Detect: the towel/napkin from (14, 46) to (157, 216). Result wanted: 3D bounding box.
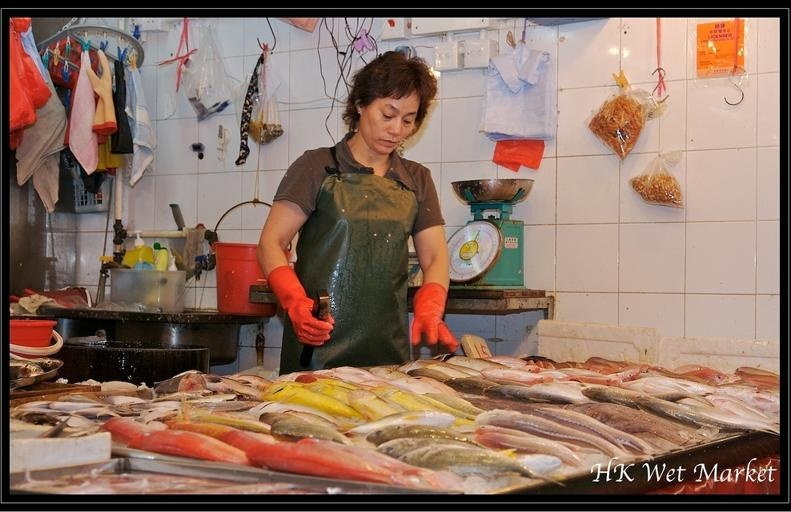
[{"bbox_3d":[-2.379,-0.866,4.242,0.664,1.165,0.330,3,15,11],"label":"towel/napkin"}]

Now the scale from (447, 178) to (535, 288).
[{"bbox_3d":[0.535,-0.122,3.458,0.464,0.650,0.374,3,15,11],"label":"scale"}]

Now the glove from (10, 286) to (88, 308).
[{"bbox_3d":[-2.314,0.285,4.106,0.308,0.106,0.312,-1,-1,38],"label":"glove"}]

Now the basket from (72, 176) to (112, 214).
[{"bbox_3d":[-2.471,-0.479,4.768,0.226,0.199,0.222,-8,13,-24],"label":"basket"}]

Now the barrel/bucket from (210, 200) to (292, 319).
[{"bbox_3d":[-0.953,-0.008,3.960,0.561,0.711,0.438,3,0,-12],"label":"barrel/bucket"}]

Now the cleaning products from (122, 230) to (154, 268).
[{"bbox_3d":[-1.877,-0.023,4.312,0.201,0.236,0.225,3,-34,-11],"label":"cleaning products"}]

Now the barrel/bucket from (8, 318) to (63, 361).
[{"bbox_3d":[-1.279,0.295,2.170,0.188,0.110,0.180,5,-7,1],"label":"barrel/bucket"}]

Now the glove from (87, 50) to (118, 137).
[{"bbox_3d":[-2.073,-1.135,4.189,0.161,0.624,0.352,-6,16,-23],"label":"glove"}]

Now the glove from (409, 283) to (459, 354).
[{"bbox_3d":[0.167,0.289,2.625,0.191,0.267,0.353,1,14,2],"label":"glove"}]

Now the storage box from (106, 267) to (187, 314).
[{"bbox_3d":[-1.652,0.201,3.890,0.344,0.205,0.349,0,-2,42],"label":"storage box"}]
